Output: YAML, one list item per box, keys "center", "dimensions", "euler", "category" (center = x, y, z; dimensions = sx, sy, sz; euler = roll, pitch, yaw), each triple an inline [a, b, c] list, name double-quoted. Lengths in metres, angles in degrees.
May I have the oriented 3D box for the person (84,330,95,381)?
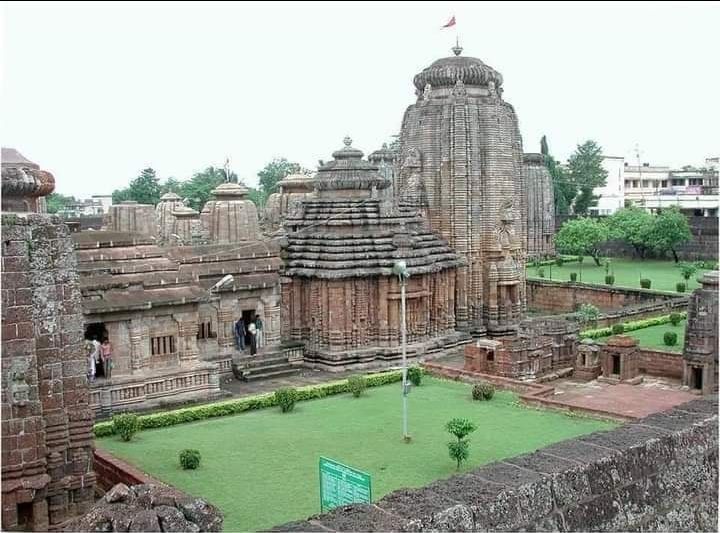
- center: [-7.595, 2.626, 20.088]
  dimensions: [0.283, 1.220, 0.670]
  euler: [-3, 9, -14]
  category: "person"

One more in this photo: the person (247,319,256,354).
- center: [-3.866, 2.483, 25.344]
  dimensions: [0.318, 1.142, 0.769]
  euler: [-3, 9, -10]
  category: "person"

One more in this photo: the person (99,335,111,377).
- center: [-7.415, 2.595, 20.628]
  dimensions: [0.300, 1.150, 0.463]
  euler: [-3, 9, -16]
  category: "person"

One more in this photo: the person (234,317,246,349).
- center: [-4.280, 2.387, 25.110]
  dimensions: [0.283, 1.110, 0.347]
  euler: [1, 9, 15]
  category: "person"
